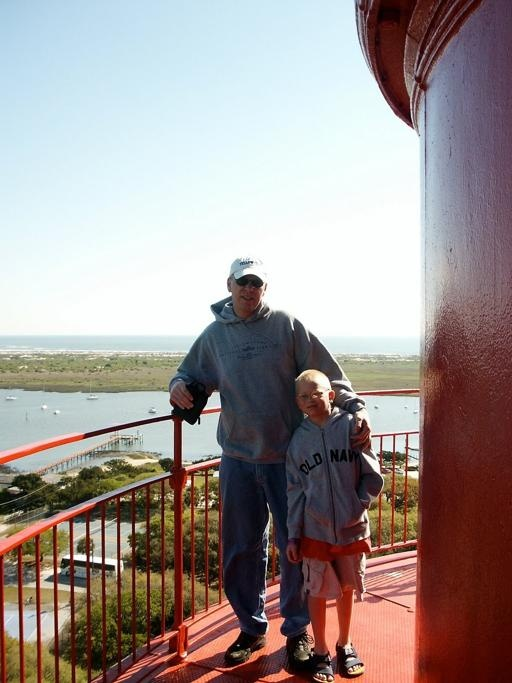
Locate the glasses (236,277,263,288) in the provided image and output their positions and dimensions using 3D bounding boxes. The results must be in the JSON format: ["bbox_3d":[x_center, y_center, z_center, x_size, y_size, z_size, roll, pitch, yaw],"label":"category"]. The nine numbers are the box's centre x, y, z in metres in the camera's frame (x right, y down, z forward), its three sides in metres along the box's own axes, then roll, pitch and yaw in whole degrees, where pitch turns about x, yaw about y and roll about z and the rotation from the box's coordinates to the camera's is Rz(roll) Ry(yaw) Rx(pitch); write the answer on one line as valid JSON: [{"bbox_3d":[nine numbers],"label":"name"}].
[{"bbox_3d":[-0.035,-0.301,2.551,0.132,0.065,0.032,-2,-1,-9],"label":"glasses"}]

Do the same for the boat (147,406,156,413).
[{"bbox_3d":[-13.851,9.400,68.156,0.832,0.528,1.219,-1,4,-3],"label":"boat"}]

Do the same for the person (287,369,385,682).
[{"bbox_3d":[0.356,0.825,2.299,0.429,0.960,0.274,-2,-1,3],"label":"person"}]

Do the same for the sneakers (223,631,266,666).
[{"bbox_3d":[-0.061,1.530,2.505,0.076,0.100,0.214,-10,-15,28],"label":"sneakers"}]

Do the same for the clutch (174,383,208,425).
[{"bbox_3d":[-0.332,0.309,2.546,0.133,0.209,0.108,27,-3,-3],"label":"clutch"}]
